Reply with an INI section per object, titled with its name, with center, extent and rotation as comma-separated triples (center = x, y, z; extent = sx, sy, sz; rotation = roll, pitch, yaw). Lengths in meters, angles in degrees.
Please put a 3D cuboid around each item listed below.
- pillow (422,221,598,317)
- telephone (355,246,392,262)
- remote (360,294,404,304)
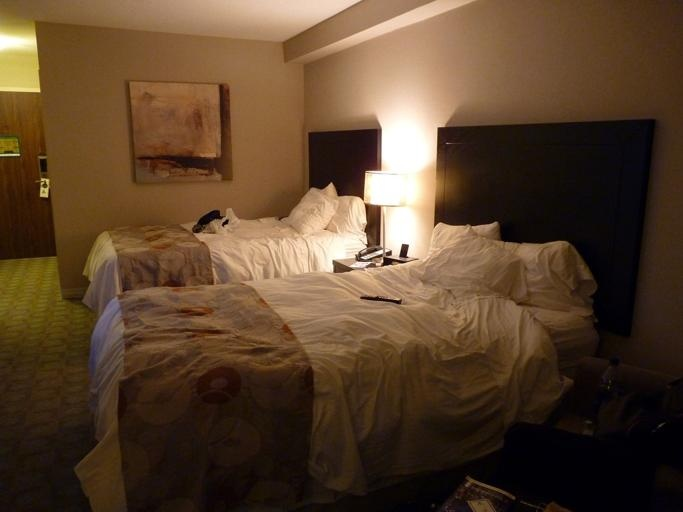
[pillow]
center = 1.213, 0.047, 3.617
extent = 0.918, 0.316, 0.597
rotation = 16, 33, 42
[telephone]
center = 0.310, -0.042, 4.939
extent = 0.283, 0.097, 0.162
rotation = -5, 11, -32
[remote]
center = 0.272, 0.292, 3.471
extent = 0.177, 0.037, 0.105
rotation = 2, 6, 10
